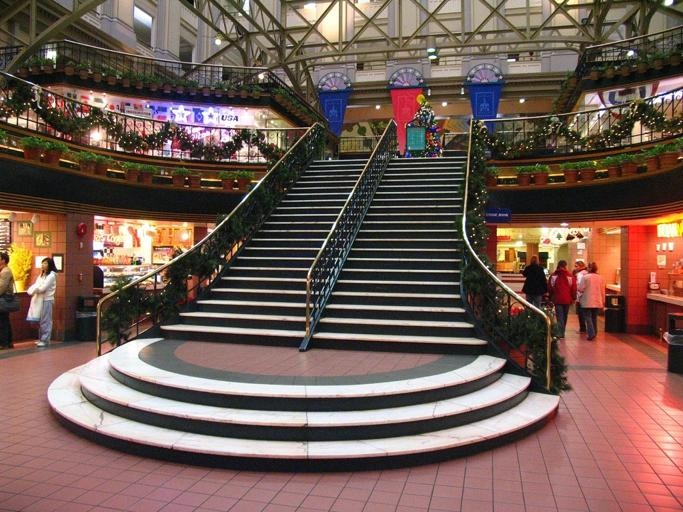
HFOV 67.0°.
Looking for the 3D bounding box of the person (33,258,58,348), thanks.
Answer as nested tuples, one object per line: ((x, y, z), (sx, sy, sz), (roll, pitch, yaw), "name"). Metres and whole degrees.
((-6.091, 0.922, 10.576), (0.334, 1.767, 0.449), (1, 3, -6), "person")

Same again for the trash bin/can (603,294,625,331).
((6.842, 1.455, 13.235), (0.528, 0.869, 0.513), (-6, -17, 40), "trash bin/can")

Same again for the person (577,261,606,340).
((5.835, 1.039, 12.103), (0.547, 1.757, 0.978), (3, 4, 25), "person")

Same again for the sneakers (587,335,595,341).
((5.726, 1.849, 11.830), (0.129, 0.101, 0.323), (3, 4, 29), "sneakers")

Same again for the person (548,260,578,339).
((4.959, 0.976, 11.670), (0.530, 1.765, 0.825), (3, 4, 31), "person")

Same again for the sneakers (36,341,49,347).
((-6.078, 1.779, 10.489), (0.092, 0.082, 0.200), (-6, -13, 39), "sneakers")

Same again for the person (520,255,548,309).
((4.357, 0.590, 11.631), (0.526, 1.230, 0.933), (2, 4, 23), "person")

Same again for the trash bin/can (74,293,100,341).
((-5.616, 1.341, 11.554), (0.473, 0.793, 0.430), (6, 0, 8), "trash bin/can")
